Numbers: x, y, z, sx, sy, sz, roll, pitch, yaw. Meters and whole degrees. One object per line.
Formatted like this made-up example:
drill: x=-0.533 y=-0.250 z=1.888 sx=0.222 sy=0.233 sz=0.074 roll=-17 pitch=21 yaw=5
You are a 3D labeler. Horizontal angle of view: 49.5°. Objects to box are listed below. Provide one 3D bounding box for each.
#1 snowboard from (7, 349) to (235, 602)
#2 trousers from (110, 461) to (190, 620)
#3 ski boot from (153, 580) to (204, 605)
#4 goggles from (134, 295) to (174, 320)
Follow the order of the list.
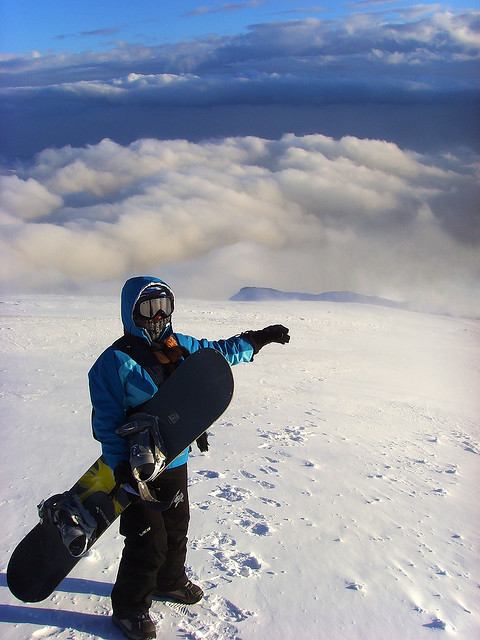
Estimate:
snowboard: x=-0.842 y=1.181 z=3.776 sx=0.488 sy=2.119 sz=0.312 roll=50 pitch=3 yaw=17
trousers: x=-0.516 y=1.379 z=3.255 sx=0.499 sy=0.959 sz=0.282 roll=-1 pitch=11 yaw=-45
ski boot: x=-0.405 y=1.784 z=3.443 sx=0.314 sy=0.121 sz=0.109 roll=0 pitch=12 yaw=4
goggles: x=-0.538 y=-0.084 z=3.298 sx=0.192 sy=0.099 sz=0.175 roll=-5 pitch=2 yaw=-40
